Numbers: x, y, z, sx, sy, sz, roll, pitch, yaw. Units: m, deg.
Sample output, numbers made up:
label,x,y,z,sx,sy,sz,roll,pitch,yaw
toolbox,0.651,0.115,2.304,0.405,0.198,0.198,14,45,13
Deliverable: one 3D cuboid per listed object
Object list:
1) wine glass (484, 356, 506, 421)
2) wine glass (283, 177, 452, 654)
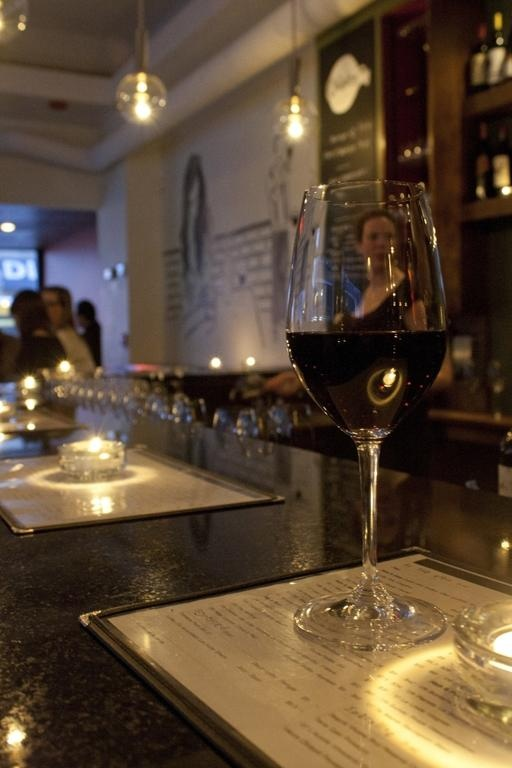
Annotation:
label,x,y,z,sx,sy,sz,roll,pitch,yaw
wine glass,1.193,0.018,3.144,0.107,0.272,0.277,1,2,22
wine glass,0.059,0.000,0.348,0.087,0.223,0.179,1,2,3
